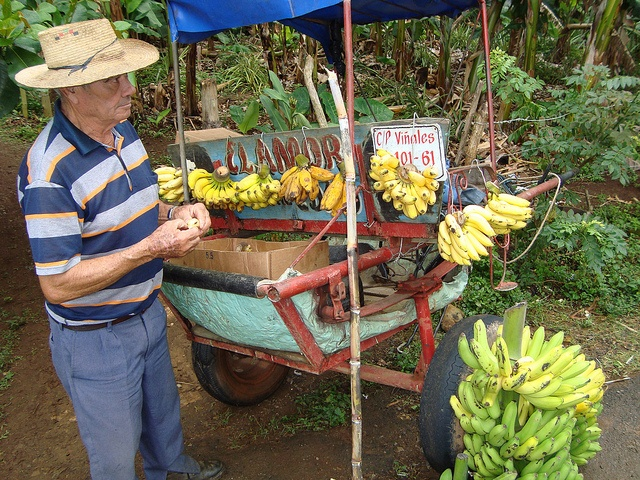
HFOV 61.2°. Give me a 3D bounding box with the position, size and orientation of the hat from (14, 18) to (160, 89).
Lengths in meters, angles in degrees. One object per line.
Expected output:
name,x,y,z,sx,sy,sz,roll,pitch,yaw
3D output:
hat,-1.547,-1.248,3.591,0.901,0.397,0.523,-10,22,-15

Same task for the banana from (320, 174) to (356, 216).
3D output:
banana,0.123,-0.344,4.080,0.144,0.331,0.114,14,-9,26

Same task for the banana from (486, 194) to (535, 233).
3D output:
banana,1.323,-0.192,3.767,0.289,0.231,0.112,9,-9,19

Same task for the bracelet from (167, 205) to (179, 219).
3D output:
bracelet,-1.109,-0.214,4.111,0.030,0.091,0.075,15,-5,-19
